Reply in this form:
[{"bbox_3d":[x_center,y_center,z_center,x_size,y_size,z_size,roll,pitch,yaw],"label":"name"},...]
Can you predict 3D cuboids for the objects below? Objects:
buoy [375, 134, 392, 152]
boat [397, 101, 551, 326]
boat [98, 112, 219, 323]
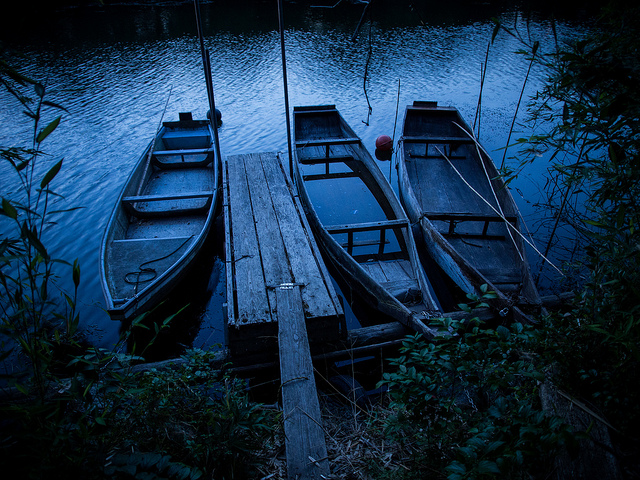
[{"bbox_3d":[1.332,-2.059,10.193,0.321,0.301,0.300,-26,30,-21],"label":"buoy"},{"bbox_3d":[2.090,-0.745,7.307,1.196,0.734,4.717,-3,35,2],"label":"boat"},{"bbox_3d":[-2.298,-0.259,7.205,1.274,0.856,4.102,2,39,-1],"label":"boat"}]
